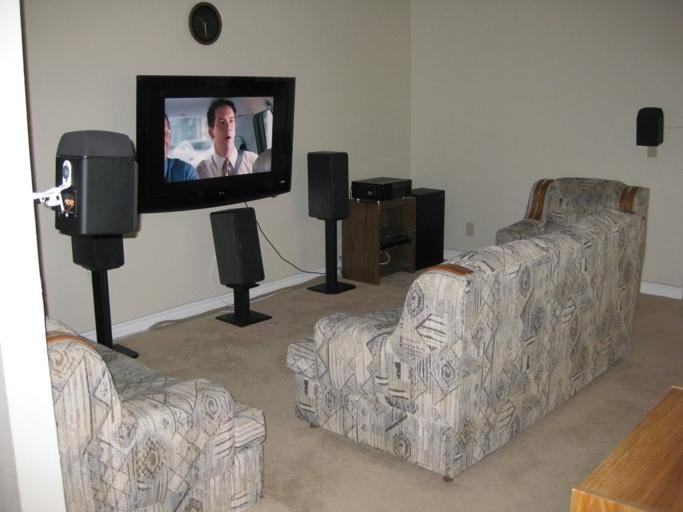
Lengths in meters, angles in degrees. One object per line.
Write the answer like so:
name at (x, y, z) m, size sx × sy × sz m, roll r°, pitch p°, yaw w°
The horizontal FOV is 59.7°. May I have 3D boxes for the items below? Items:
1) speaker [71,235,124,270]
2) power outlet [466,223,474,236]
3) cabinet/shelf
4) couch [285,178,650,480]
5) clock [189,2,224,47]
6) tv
speaker at (-1.583, -0.040, 3.869) m, size 0.294 × 0.254 × 0.368 m, roll -7°, pitch 14°, yaw -26°
power outlet at (1.378, -0.294, 6.353) m, size 0.112 × 0.164 × 0.015 m, roll 8°, pitch 15°, yaw 41°
cabinet/shelf at (0.514, -0.229, 6.078) m, size 1.016 × 0.832 × 0.570 m, roll -9°, pitch 14°, yaw -39°
couch at (0.624, -0.212, 3.122) m, size 1.233 × 1.330 × 2.585 m, roll 13°, pitch 22°, yaw 43°
clock at (-1.068, -1.822, 4.638) m, size 0.044 × 0.323 × 0.303 m, roll 1°, pitch 17°, yaw 37°
tv at (-0.970, -0.862, 4.430) m, size 1.115 × 0.877 × 0.150 m, roll -11°, pitch 20°, yaw -43°
